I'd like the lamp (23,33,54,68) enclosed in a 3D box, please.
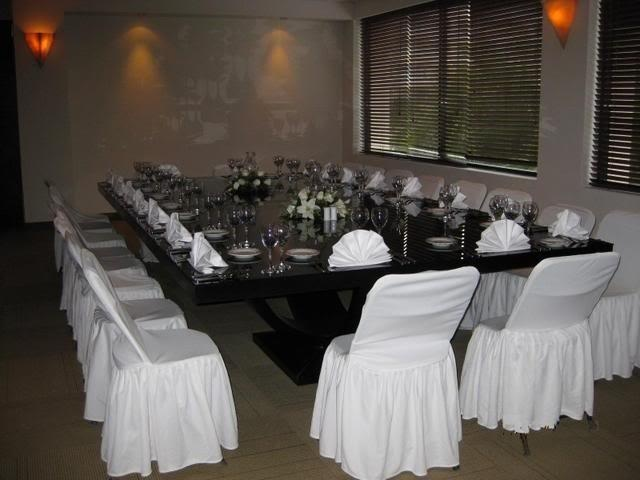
[{"bbox_3d":[-4.278,-2.960,7.233,0.382,0.497,0.452,38,39,29],"label":"lamp"}]
